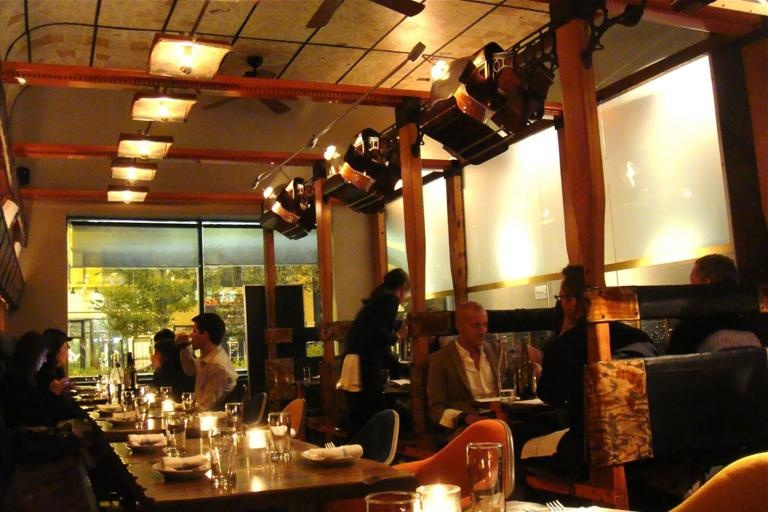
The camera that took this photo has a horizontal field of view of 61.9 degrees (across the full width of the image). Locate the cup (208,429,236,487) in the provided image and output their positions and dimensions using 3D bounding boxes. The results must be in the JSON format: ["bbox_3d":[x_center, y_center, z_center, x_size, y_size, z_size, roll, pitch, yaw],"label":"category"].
[{"bbox_3d":[-0.881,1.095,3.506,0.136,0.317,0.141,-5,-6,-1],"label":"cup"}]

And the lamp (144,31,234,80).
[{"bbox_3d":[-1.881,-1.873,6.117,0.677,0.187,0.827,-2,-7,-26],"label":"lamp"}]

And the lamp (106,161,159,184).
[{"bbox_3d":[-3.366,-1.159,8.598,0.526,0.234,0.469,-2,-7,-26],"label":"lamp"}]

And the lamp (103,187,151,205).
[{"bbox_3d":[-3.849,-0.931,9.638,0.592,0.156,0.430,-4,-6,-7],"label":"lamp"}]

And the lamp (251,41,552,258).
[{"bbox_3d":[0.214,-1.435,8.620,1.100,1.192,4.474,10,-33,-38],"label":"lamp"}]

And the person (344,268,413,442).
[{"bbox_3d":[-0.112,1.132,6.590,0.658,1.916,0.624,5,10,-8],"label":"person"}]

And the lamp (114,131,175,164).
[{"bbox_3d":[-2.953,-1.348,7.874,0.580,0.168,0.738,-2,-7,-24],"label":"lamp"}]
